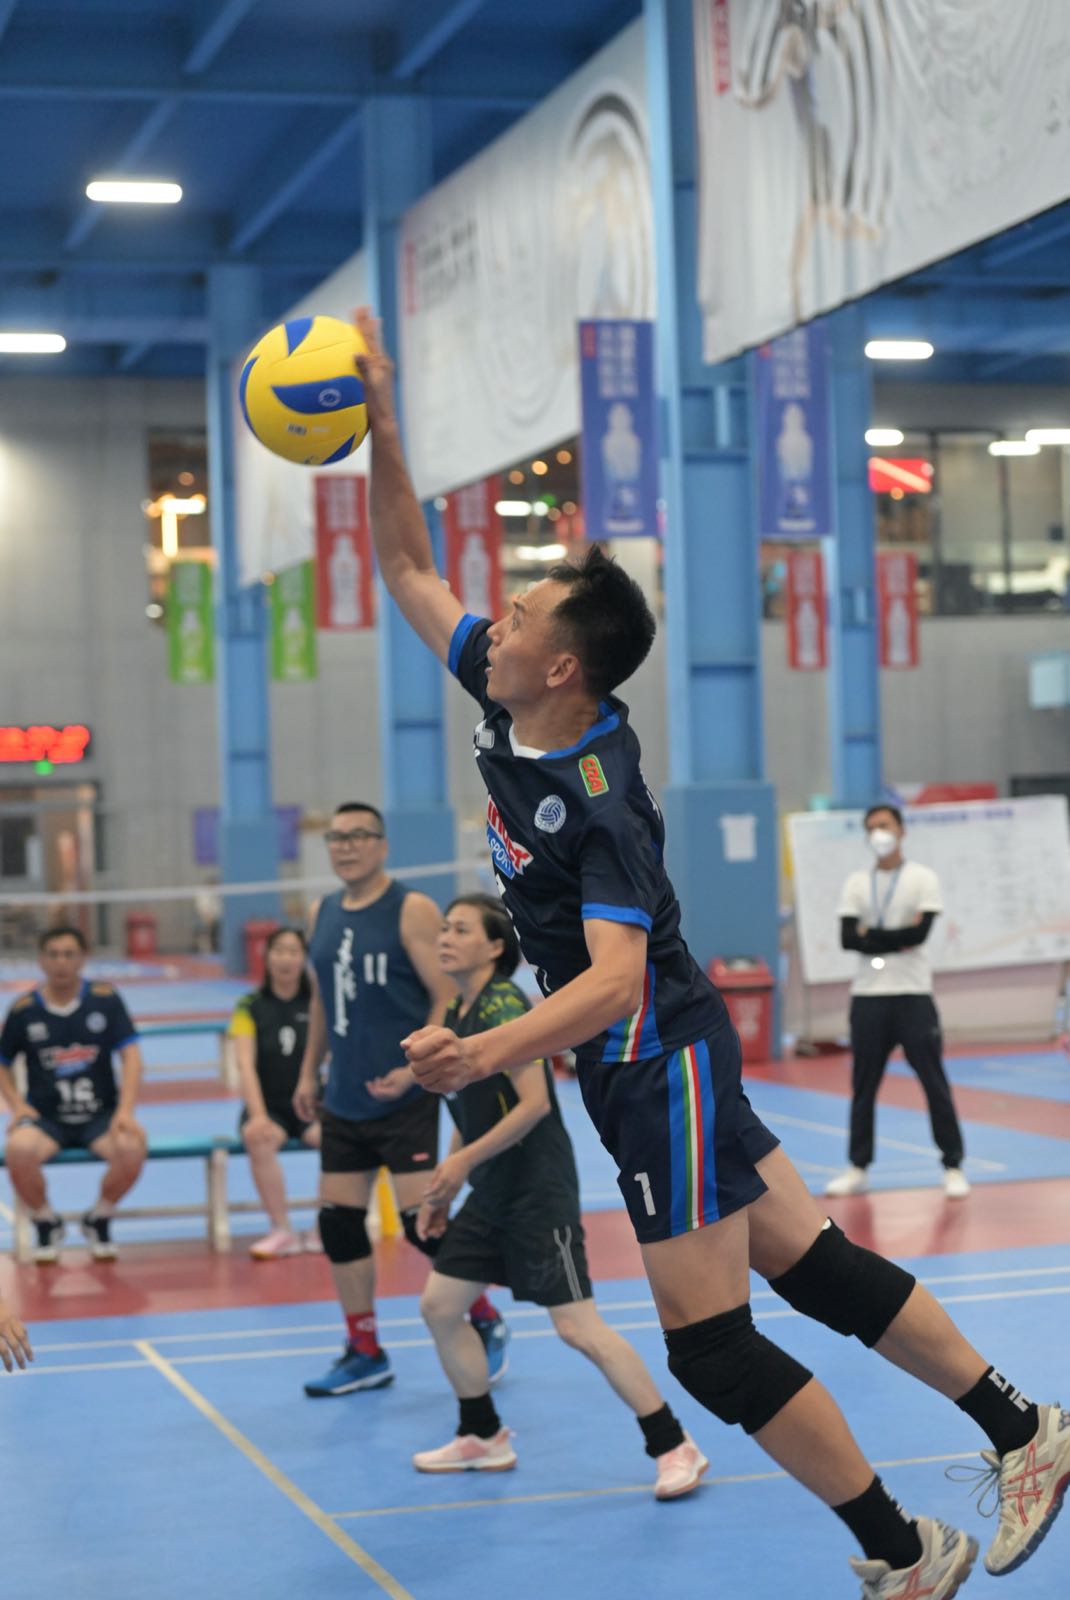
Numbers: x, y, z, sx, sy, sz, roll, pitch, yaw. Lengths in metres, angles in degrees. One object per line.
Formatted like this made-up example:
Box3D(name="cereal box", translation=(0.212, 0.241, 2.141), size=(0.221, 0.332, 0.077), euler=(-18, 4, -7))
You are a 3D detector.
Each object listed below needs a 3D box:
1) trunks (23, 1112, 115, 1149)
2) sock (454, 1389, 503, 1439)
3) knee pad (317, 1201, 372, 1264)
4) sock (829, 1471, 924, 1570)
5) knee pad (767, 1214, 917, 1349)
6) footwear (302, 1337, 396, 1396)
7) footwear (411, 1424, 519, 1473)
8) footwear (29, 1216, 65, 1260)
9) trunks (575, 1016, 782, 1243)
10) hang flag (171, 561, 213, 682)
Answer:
Box3D(name="trunks", translation=(-2.141, 1.549, 7.871), size=(0.232, 0.091, 0.221), euler=(-4, -6, 0))
Box3D(name="sock", translation=(-0.154, 1.719, 4.767), size=(0.101, 0.149, 0.156), euler=(1, -2, -5))
Box3D(name="knee pad", translation=(-0.609, 1.400, 5.569), size=(0.168, 0.249, 0.261), euler=(-1, -26, 0))
Box3D(name="sock", translation=(0.591, 1.249, 2.941), size=(0.149, 0.158, 0.070), euler=(-1, -3, -15))
Box3D(name="knee pad", translation=(0.569, 0.878, 3.155), size=(0.315, 0.170, 0.125), euler=(36, 16, 0))
Box3D(name="footwear", translation=(-0.601, 1.874, 5.625), size=(0.323, 0.160, 0.125), euler=(-1, -1, -27))
Box3D(name="footwear", translation=(-0.187, 1.806, 4.746), size=(0.270, 0.122, 0.114), euler=(1, -4, -4))
Box3D(name="footwear", translation=(-2.243, 2.017, 7.825), size=(0.128, 0.200, 0.284), euler=(-1, -3, -16))
Box3D(name="trunks", translation=(0.214, 0.592, 3.204), size=(0.331, 0.491, 0.541), euler=(-18, -2, -1))
Box3D(name="hang flag", translation=(-5.959, -3.128, 29.385), size=(0.753, 2.056, 0.855), euler=(-1, -3, -11))
